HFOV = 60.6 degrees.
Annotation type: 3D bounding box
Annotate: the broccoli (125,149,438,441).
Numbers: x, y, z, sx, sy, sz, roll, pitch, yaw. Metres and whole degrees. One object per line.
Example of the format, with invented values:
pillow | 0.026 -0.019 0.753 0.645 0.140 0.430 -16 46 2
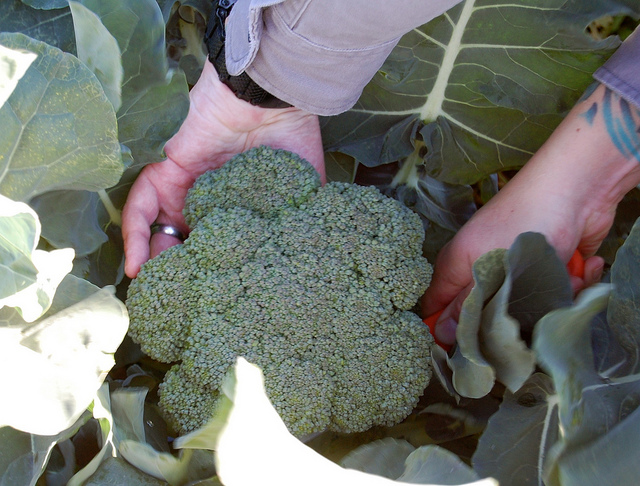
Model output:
broccoli | -0.066 0.139 1.135 0.638 0.275 0.573 30 59 3
